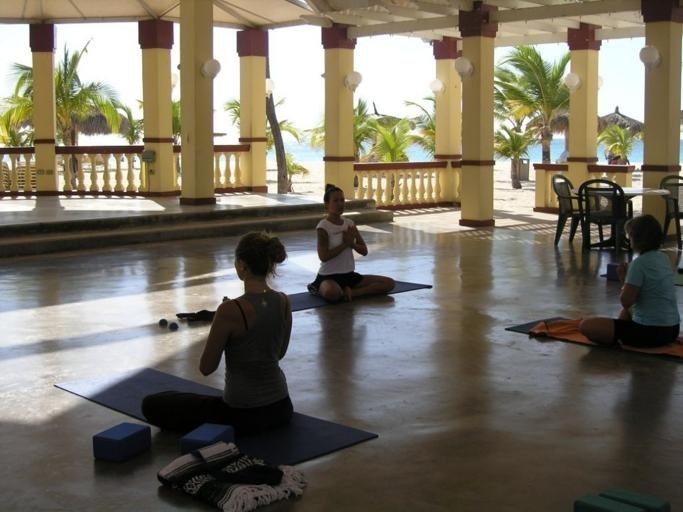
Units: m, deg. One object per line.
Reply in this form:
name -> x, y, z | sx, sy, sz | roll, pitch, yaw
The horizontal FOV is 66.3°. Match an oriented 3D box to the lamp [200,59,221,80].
lamp -> -2.619, -3.907, 10.893 | 0.382, 0.415, 0.458 | 5, 11, 31

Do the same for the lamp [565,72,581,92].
lamp -> 5.634, -4.250, 12.732 | 0.356, 0.470, 0.303 | -1, 10, -5

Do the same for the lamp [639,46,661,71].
lamp -> 5.837, -3.791, 9.938 | 0.407, 0.430, 0.335 | -7, 12, -35

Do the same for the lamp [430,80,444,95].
lamp -> 2.609, -4.599, 14.307 | 0.394, 0.353, 0.352 | 13, 6, 8

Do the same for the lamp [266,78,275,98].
lamp -> -2.032, -4.755, 14.718 | 0.238, 0.444, 0.537 | -2, 9, -8

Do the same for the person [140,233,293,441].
person -> -0.598, 0.418, 2.921 | 0.818, 0.962, 0.733 | -1, 0, 15

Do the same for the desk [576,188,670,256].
desk -> 4.592, -0.596, 8.665 | 1.284, 0.820, 1.197 | 4, 3, 12

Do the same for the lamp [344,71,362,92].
lamp -> 0.283, -4.243, 12.601 | 0.333, 0.457, 0.526 | 0, -7, -15

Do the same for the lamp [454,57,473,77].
lamp -> 2.582, -4.006, 11.043 | 0.396, 0.408, 0.205 | -8, 12, -39

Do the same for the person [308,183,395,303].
person -> 0.022, -0.152, 5.767 | 0.925, 1.215, 1.016 | 11, 15, 34
